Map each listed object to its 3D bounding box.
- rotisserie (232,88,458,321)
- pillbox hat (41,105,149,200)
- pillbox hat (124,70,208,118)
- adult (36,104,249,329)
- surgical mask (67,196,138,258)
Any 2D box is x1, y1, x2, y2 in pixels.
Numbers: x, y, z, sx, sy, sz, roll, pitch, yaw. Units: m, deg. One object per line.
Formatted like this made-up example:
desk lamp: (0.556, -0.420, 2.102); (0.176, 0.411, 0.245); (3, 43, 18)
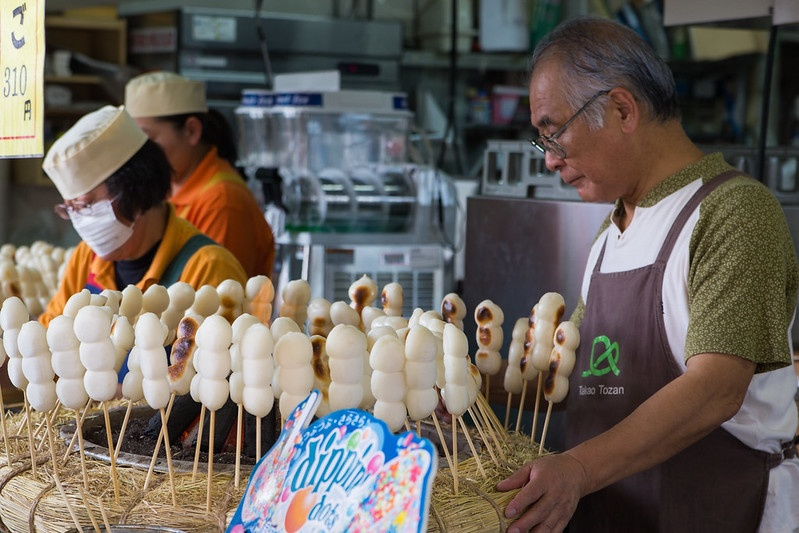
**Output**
rotisserie: (-0.171, -0.359, 3.925); (0.864, 1.131, 0.826); (-14, 31, -21)
pillbox hat: (-1.005, -0.385, 2.897); (0.301, 0.155, 0.292); (-32, 18, 43)
pillbox hat: (-0.954, -0.711, 3.597); (0.338, 0.194, 0.262); (-5, 14, -32)
adult: (-0.946, -0.217, 3.295); (0.645, 0.845, 1.013); (-19, 16, -36)
surgical mask: (-1.003, -0.156, 3.004); (0.153, 0.123, 0.184); (13, 53, 45)
